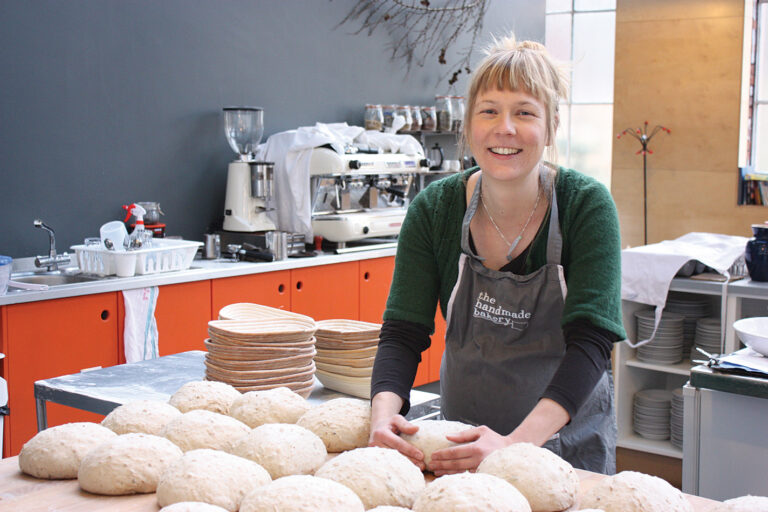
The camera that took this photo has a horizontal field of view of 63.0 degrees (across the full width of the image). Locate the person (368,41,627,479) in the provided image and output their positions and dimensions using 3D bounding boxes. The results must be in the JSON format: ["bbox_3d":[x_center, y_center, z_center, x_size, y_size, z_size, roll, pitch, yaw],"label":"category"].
[{"bbox_3d":[0.314,0.047,1.754,0.688,1.325,0.663,2,9,17],"label":"person"}]

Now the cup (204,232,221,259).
[{"bbox_3d":[-1.199,-0.065,4.371,0.122,0.171,0.133,-1,9,0],"label":"cup"}]

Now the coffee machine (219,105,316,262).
[{"bbox_3d":[-0.892,-0.519,4.414,0.619,1.056,0.482,7,12,41],"label":"coffee machine"}]

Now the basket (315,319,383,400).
[{"bbox_3d":[-0.096,0.316,2.102,0.279,0.205,0.225,0,-4,41],"label":"basket"}]

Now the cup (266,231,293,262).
[{"bbox_3d":[-0.730,-0.065,4.249,0.183,0.249,0.177,1,6,0],"label":"cup"}]

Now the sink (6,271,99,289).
[{"bbox_3d":[-2.010,0.136,3.726,0.214,0.104,0.262,3,1,44],"label":"sink"}]

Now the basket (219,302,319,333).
[{"bbox_3d":[-0.396,0.200,2.068,0.219,0.049,0.136,11,11,39],"label":"basket"}]

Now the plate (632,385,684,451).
[{"bbox_3d":[1.575,0.936,3.627,0.314,0.196,0.317,0,4,10],"label":"plate"}]

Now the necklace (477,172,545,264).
[{"bbox_3d":[0.368,-0.092,1.870,0.167,0.297,0.080,7,3,20],"label":"necklace"}]

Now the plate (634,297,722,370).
[{"bbox_3d":[1.711,0.429,3.696,0.446,0.348,0.376,2,9,22],"label":"plate"}]

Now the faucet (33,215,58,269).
[{"bbox_3d":[-2.070,-0.075,3.815,0.120,0.284,0.391,-6,10,-28],"label":"faucet"}]

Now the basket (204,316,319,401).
[{"bbox_3d":[-0.386,0.337,1.984,0.357,0.253,0.204,-3,9,-15],"label":"basket"}]
